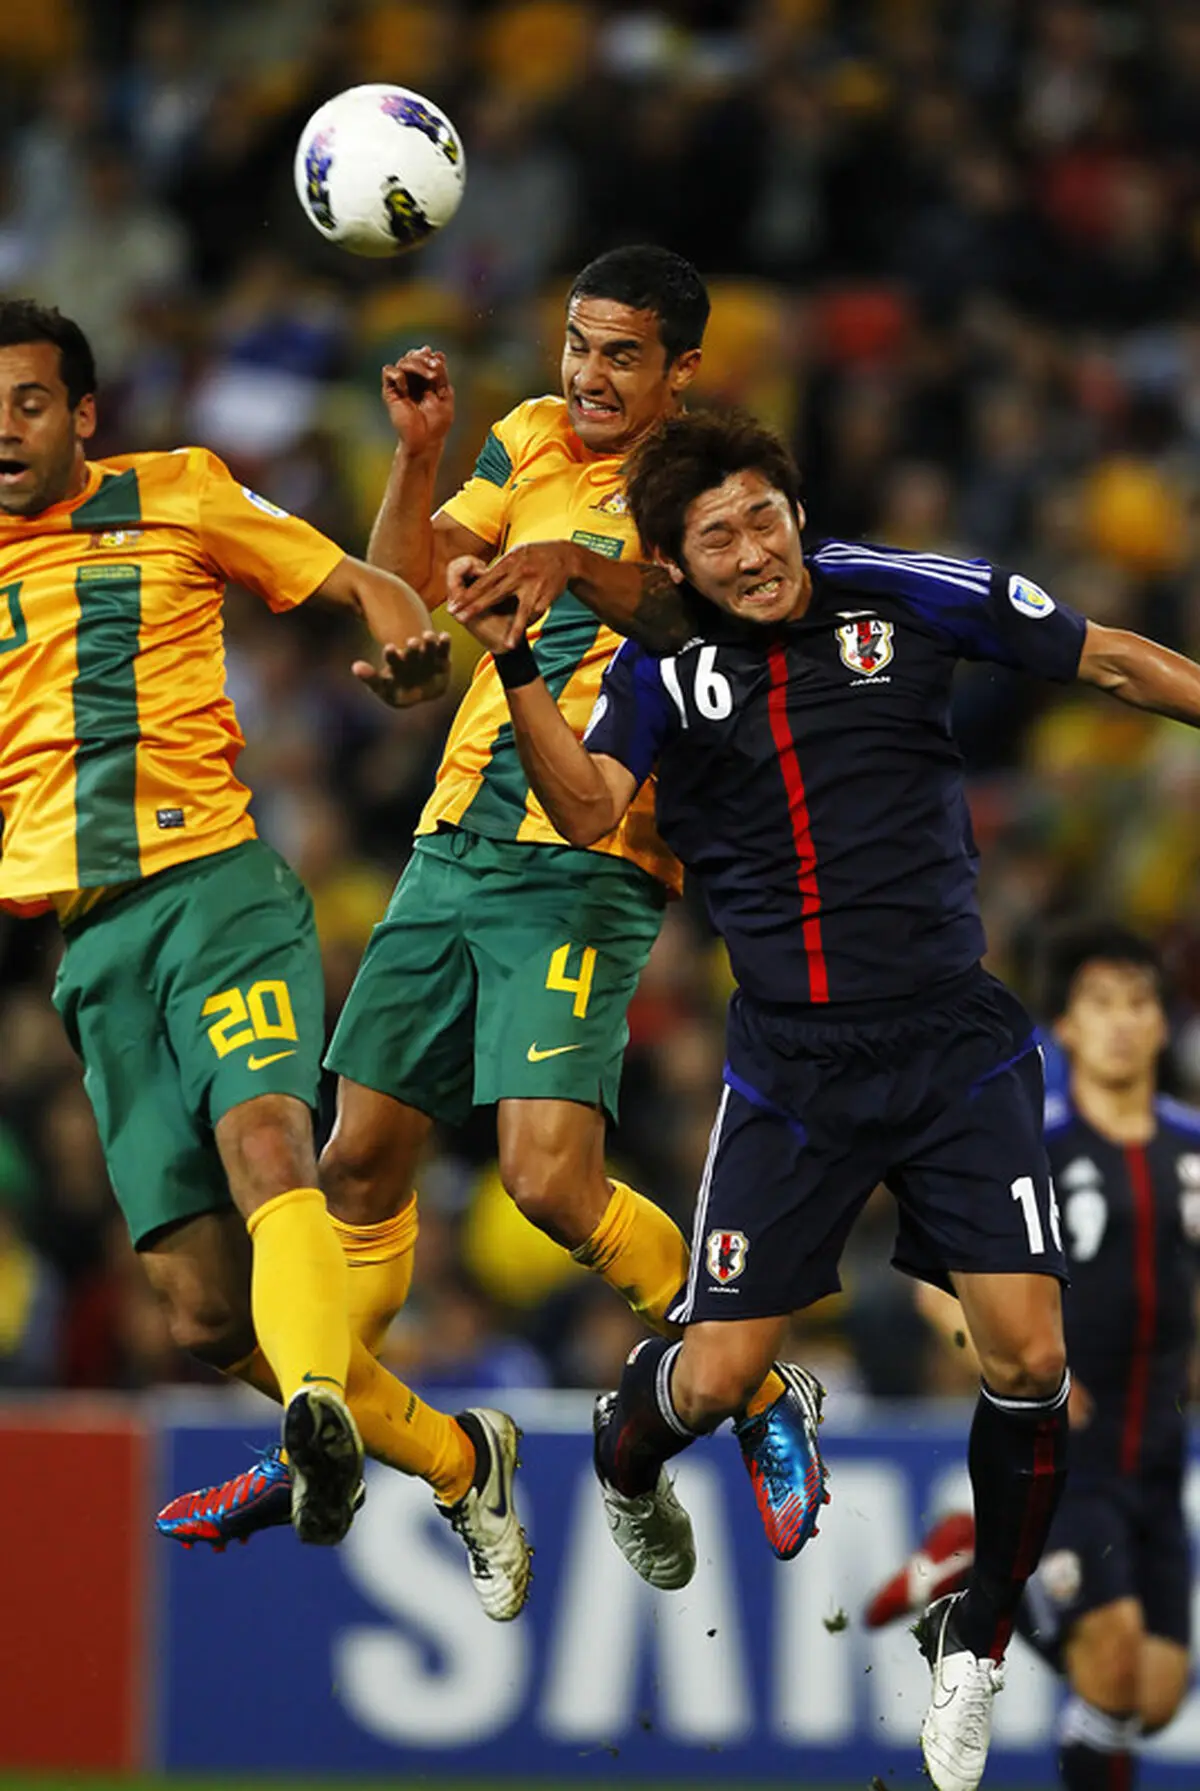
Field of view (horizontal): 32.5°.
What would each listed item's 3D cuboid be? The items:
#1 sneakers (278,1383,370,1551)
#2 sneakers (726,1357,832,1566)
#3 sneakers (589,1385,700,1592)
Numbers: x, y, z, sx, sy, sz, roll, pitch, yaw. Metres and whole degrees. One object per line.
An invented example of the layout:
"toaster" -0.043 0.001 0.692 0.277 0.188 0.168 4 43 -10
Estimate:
"sneakers" -0.393 0.840 2.977 0.107 0.252 0.120 -2 13 -8
"sneakers" 0.352 1.107 4.153 0.149 0.198 0.442 -23 38 17
"sneakers" 0.101 1.262 4.248 0.190 0.477 0.221 -20 23 2
